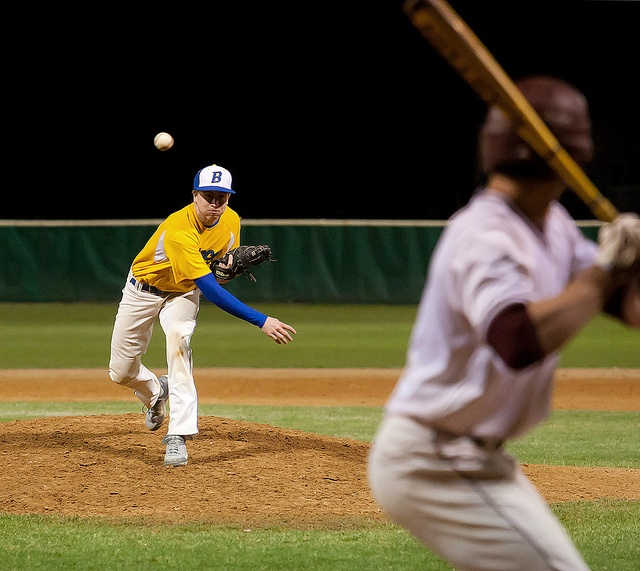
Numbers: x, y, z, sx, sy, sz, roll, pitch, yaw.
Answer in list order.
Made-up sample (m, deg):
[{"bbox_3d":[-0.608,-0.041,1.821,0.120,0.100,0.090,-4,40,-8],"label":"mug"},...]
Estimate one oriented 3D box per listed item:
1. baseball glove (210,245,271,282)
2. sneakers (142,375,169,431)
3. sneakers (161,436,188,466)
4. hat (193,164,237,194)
[{"bbox_3d":[-0.507,-0.148,7.025,0.330,0.117,0.236,-15,9,-5],"label":"baseball glove"},{"bbox_3d":[-1.124,0.840,7.520,0.148,0.408,0.178,6,8,9],"label":"sneakers"},{"bbox_3d":[-0.899,1.034,6.693,0.146,0.186,0.202,1,2,-8],"label":"sneakers"},{"bbox_3d":[-0.665,-0.689,6.760,0.233,0.192,0.352,1,2,-6],"label":"hat"}]
